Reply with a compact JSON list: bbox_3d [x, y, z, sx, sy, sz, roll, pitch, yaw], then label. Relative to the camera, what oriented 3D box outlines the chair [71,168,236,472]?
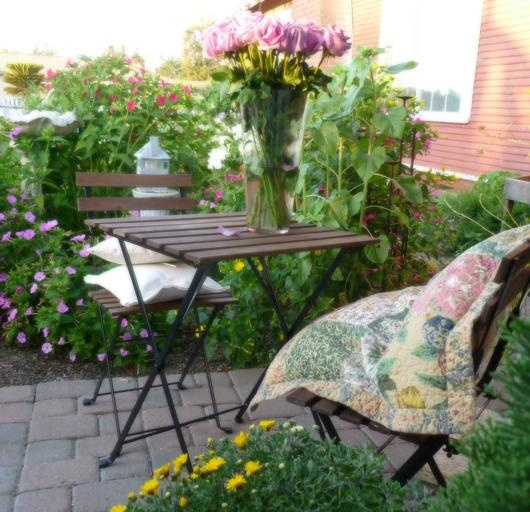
[{"bbox_3d":[-0.373,0.230,2.034,0.817,1.022,0.645,22,17,37],"label":"chair"}]

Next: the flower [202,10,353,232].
[{"bbox_3d":[0.031,-0.457,1.728,0.531,0.772,0.263,1,15,-7],"label":"flower"}]

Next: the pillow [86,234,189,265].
[{"bbox_3d":[-0.631,-0.011,2.156,0.241,0.065,0.234,15,-3,6],"label":"pillow"}]
